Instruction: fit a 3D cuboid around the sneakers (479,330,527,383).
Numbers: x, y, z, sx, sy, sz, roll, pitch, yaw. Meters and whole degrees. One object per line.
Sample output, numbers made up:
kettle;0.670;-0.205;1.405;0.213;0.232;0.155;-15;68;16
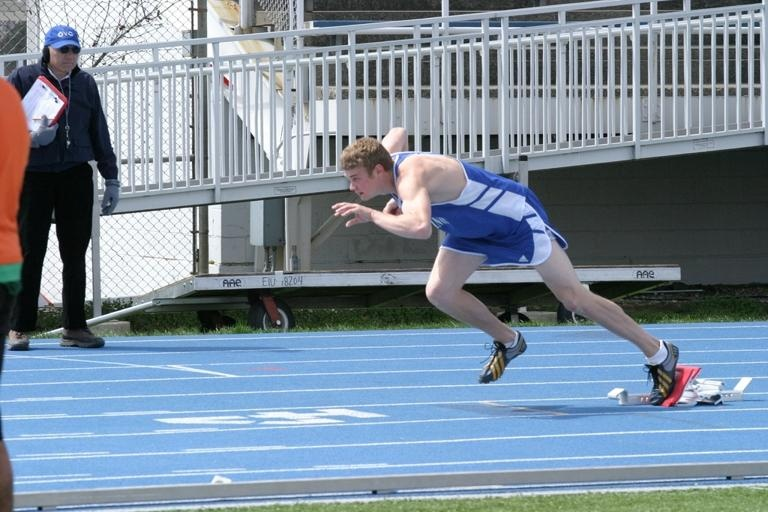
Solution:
sneakers;0.900;0.770;10.201;0.139;0.416;0.197;32;-16;52

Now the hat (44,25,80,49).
hat;-2.535;-1.722;10.745;0.247;0.183;0.222;-2;7;-21

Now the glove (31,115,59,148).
glove;-2.655;-0.968;10.681;0.232;0.250;0.154;-2;7;-26

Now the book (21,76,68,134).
book;-2.659;-1.185;10.711;0.296;0.396;0.039;35;39;-2

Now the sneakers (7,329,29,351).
sneakers;-2.985;0.713;11.179;0.109;0.118;0.283;7;-7;-26

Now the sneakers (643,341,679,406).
sneakers;1.971;0.855;9.569;0.243;0.513;0.180;-11;21;-30

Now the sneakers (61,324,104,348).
sneakers;-2.482;0.685;11.323;0.358;0.167;0.150;1;3;-4
